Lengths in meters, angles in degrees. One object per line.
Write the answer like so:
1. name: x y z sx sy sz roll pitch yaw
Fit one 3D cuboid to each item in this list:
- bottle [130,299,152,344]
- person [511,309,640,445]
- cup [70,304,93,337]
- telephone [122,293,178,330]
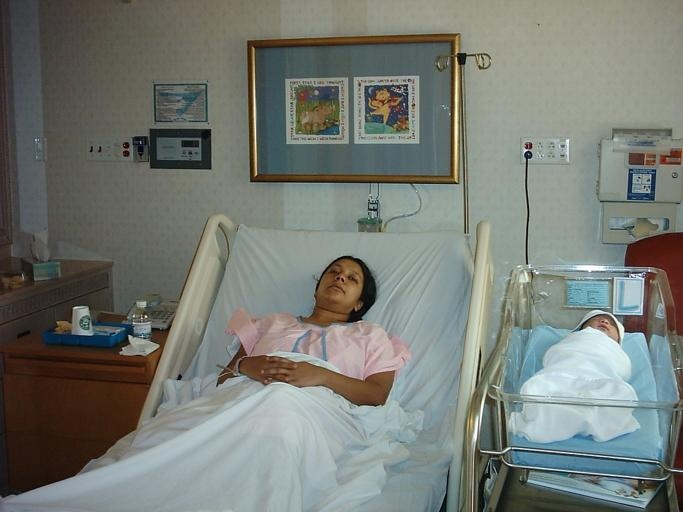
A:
1. bottle: -0.934 0.310 2.748 0.082 0.228 0.086 8 24 -4
2. person: 0.876 0.388 2.068 0.372 0.207 0.700 0 17 35
3. cup: -1.171 0.295 2.655 0.133 0.139 0.084 -1 5 -15
4. telephone: -0.923 0.266 2.999 0.183 0.113 0.266 1 12 4
